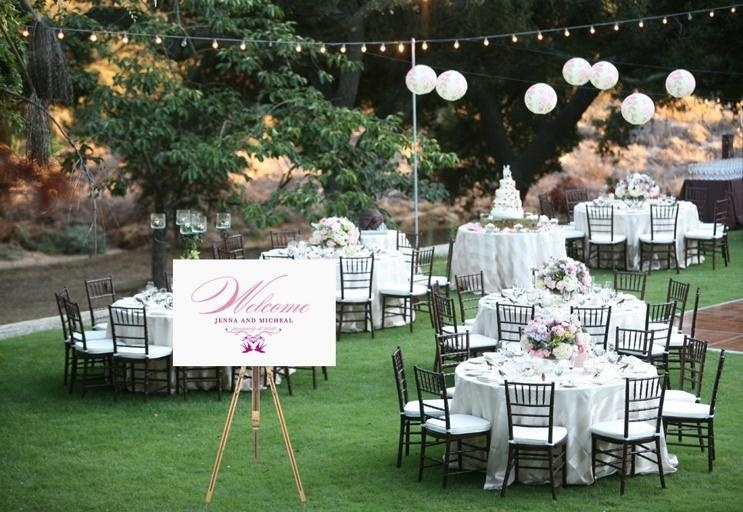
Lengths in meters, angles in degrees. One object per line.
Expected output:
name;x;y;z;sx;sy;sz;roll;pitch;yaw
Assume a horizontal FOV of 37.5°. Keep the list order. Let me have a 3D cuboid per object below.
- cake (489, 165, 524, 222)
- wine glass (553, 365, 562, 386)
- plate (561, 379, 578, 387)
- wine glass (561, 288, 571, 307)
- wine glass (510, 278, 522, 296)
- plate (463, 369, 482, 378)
cake;2.513;-1.153;20.541;0.777;1.335;0.855;0;-4;1
wine glass;2.354;1.509;13.832;0.158;0.305;0.178;1;-6;-4
plate;2.481;1.594;13.710;0.188;0.090;0.122;-4;-2;13
wine glass;2.798;0.559;15.762;0.144;0.279;0.151;-3;4;-13
wine glass;2.385;0.487;18.012;0.204;0.355;0.207;1;-14;-4
plate;1.307;1.491;14.011;0.238;0.088;0.129;-5;-3;32
